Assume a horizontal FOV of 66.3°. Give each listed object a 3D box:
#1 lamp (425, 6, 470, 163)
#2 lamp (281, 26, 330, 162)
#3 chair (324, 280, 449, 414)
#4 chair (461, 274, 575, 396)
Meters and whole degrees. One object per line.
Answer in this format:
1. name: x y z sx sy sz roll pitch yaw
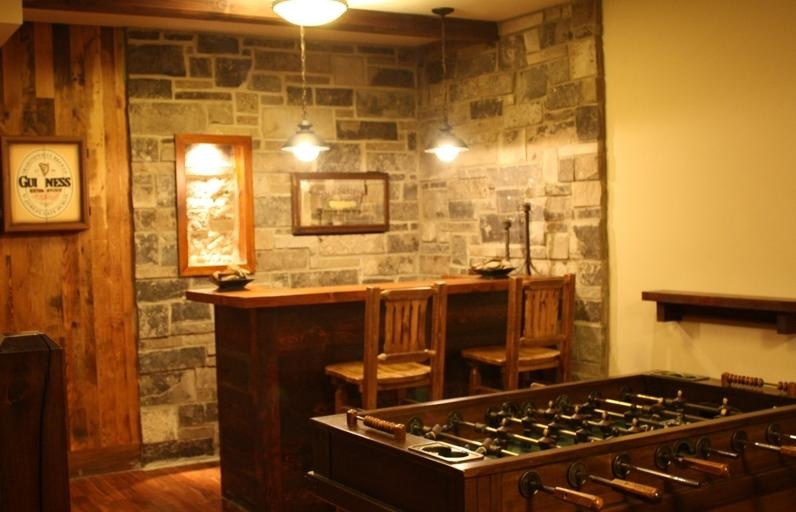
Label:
1. lamp: 0.438 -1.513 5.656 0.345 1.273 0.906 -1 3 7
2. lamp: -0.860 -1.450 5.381 0.405 1.224 1.045 -2 3 -7
3. chair: -0.034 0.620 4.145 0.826 0.876 0.548 -3 4 -29
4. chair: 0.980 0.609 4.684 0.855 0.943 0.605 -4 4 -40
